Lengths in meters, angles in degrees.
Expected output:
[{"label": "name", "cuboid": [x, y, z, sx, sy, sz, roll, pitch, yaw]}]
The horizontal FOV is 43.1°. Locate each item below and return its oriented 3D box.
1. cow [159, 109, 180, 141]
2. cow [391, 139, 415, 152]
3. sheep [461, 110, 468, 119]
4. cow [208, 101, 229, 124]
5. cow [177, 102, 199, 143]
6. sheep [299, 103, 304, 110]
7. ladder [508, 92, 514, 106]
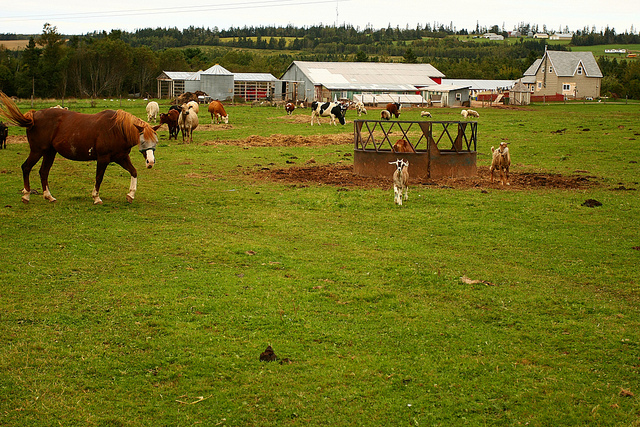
[{"label": "cow", "cuboid": [-9.445, -5.779, 52.209, 0.720, 1.779, 3.042, -2, 12, 18]}, {"label": "cow", "cuboid": [3.796, -3.174, 38.070, 0.451, 0.641, 0.951, -3, 0, -3]}, {"label": "sheep", "cuboid": [13.054, -9.051, 73.734, 0.497, 0.593, 1.326, 3, 10, 11]}, {"label": "cow", "cuboid": [-7.941, -8.058, 64.103, 1.412, 1.712, 3.565, 0, 10, -7]}, {"label": "cow", "cuboid": [-8.326, -5.821, 51.702, 1.160, 2.211, 3.273, -1, 10, -10]}, {"label": "sheep", "cuboid": [-2.030, -12.332, 92.596, 0.473, 0.527, 0.242, -1, -1, -29]}, {"label": "ladder", "cuboid": [25.029, -15.247, 106.797, 0.481, 1.384, 1.054, 4, 10, 22]}]
